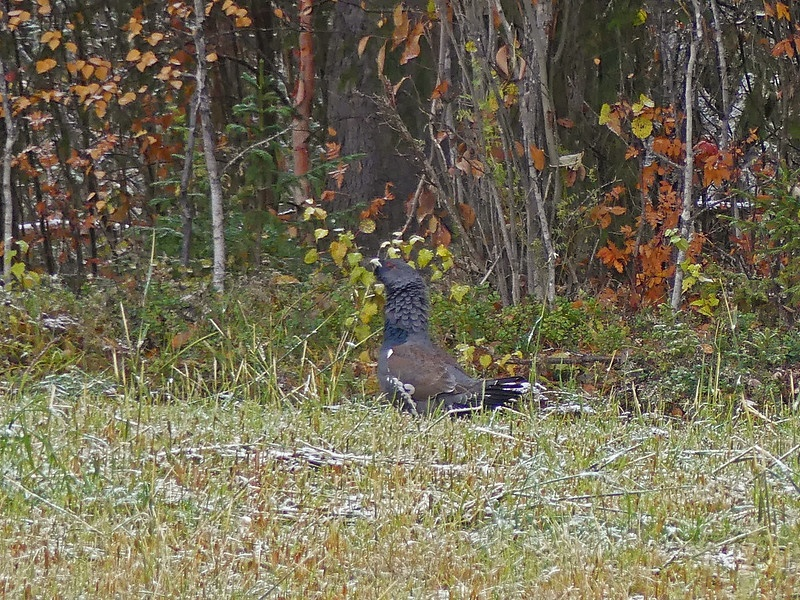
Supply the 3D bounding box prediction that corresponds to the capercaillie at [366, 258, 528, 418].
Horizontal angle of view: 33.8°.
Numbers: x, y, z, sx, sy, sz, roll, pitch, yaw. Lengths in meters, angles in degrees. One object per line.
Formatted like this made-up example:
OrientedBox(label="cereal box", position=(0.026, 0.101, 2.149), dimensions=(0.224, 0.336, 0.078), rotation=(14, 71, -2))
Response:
OrientedBox(label="capercaillie", position=(0.211, 0.277, 9.479), dimensions=(0.704, 1.034, 1.454), rotation=(-4, 8, -31))
